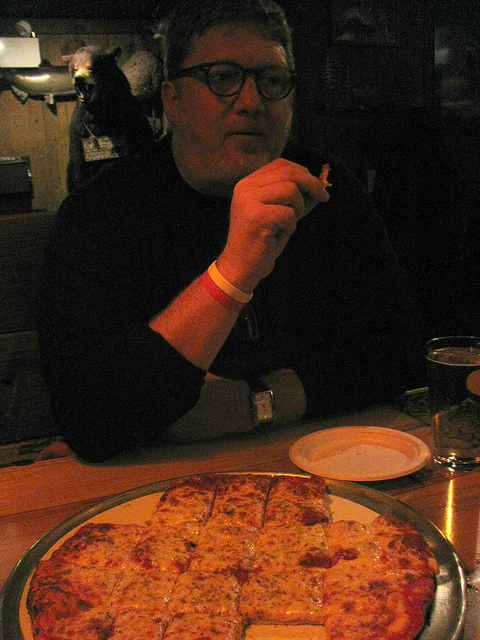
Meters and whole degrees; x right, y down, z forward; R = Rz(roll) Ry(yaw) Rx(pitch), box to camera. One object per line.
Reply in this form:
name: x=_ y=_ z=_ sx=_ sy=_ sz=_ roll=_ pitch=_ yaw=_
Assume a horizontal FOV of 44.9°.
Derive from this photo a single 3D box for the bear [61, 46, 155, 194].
bear: x=-0.494 y=-0.718 z=2.229 sx=0.331 sy=0.522 sz=0.581 roll=4 pitch=13 yaw=3
